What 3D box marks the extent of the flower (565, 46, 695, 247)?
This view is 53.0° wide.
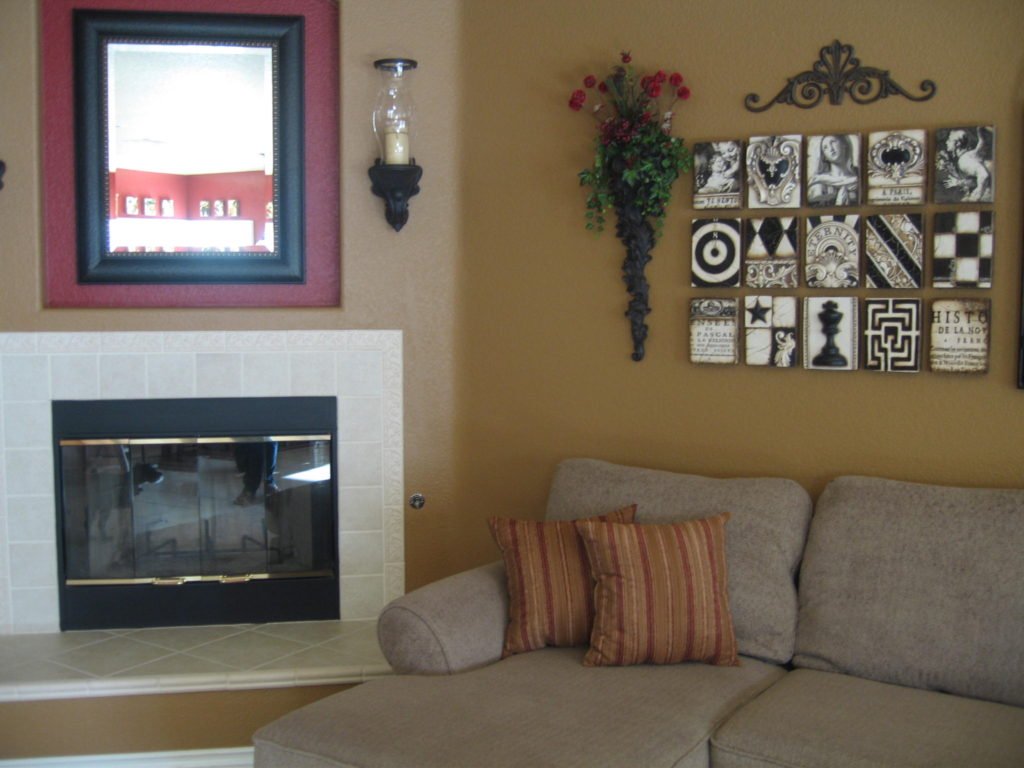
[{"bbox_3d":[0.471,-0.970,4.088,0.460,0.536,0.223,-3,1,9],"label":"flower"}]

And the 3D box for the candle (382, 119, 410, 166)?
[{"bbox_3d":[-0.470,-0.975,4.169,0.106,0.151,0.072,-3,1,-9],"label":"candle"}]

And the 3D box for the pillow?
[{"bbox_3d":[0.347,0.685,3.476,0.572,0.580,0.179,-3,-13,14],"label":"pillow"}]
